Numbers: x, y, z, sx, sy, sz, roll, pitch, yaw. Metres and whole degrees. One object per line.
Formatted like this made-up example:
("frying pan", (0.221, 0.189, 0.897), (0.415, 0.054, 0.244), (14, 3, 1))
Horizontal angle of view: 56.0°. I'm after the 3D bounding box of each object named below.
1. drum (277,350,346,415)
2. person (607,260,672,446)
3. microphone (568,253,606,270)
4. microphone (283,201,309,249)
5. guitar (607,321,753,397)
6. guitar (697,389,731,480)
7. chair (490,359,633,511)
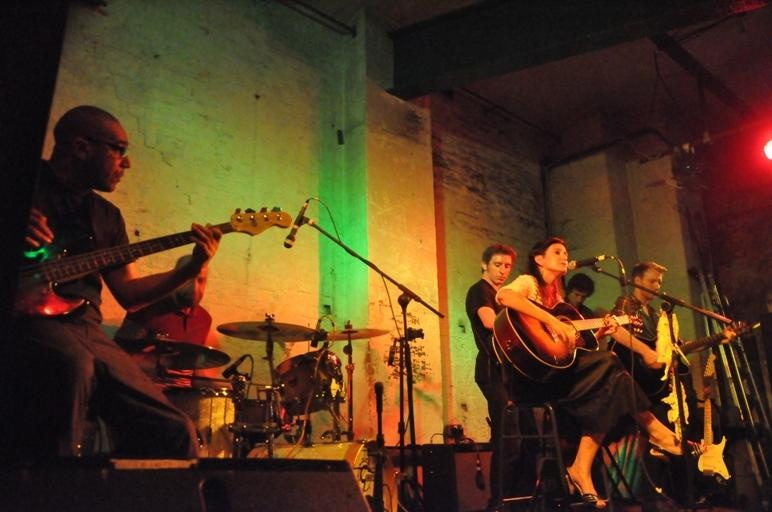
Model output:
("drum", (-0.647, 1.131, 6.763), (0.575, 0.355, 0.599), (-16, -16, -5))
("person", (2.596, 0.804, 7.445), (0.759, 1.784, 0.262), (17, -32, -26))
("microphone", (2.165, 0.065, 7.812), (0.485, 0.127, 0.131), (-8, -12, -12))
("microphone", (-0.880, -0.280, 7.008), (0.101, 0.676, 0.140), (36, -51, -6))
("guitar", (2.964, 1.062, 7.341), (0.836, 0.340, 0.814), (-12, -16, -20))
("guitar", (3.147, 1.787, 7.091), (0.271, 0.777, 0.616), (-10, -22, 23))
("chair", (1.624, 1.523, 6.480), (1.189, 1.171, 0.881), (-2, -20, 3))
